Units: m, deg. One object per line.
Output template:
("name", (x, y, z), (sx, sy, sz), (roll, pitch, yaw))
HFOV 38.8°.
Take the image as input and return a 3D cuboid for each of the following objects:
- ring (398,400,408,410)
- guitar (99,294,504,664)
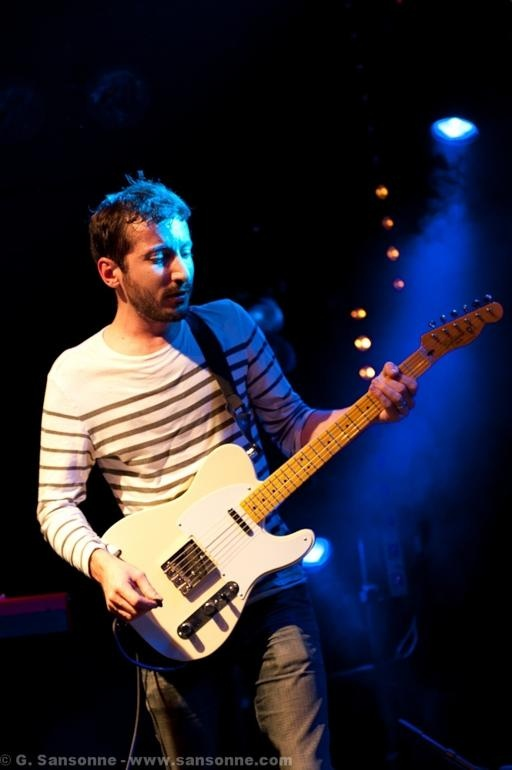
("ring", (0.441, 0.056, 2.200), (0.035, 0.016, 0.005), (-28, 2, -15))
("guitar", (0.197, 0.365, 2.594), (1.734, 0.557, 0.223), (-37, 5, -4))
